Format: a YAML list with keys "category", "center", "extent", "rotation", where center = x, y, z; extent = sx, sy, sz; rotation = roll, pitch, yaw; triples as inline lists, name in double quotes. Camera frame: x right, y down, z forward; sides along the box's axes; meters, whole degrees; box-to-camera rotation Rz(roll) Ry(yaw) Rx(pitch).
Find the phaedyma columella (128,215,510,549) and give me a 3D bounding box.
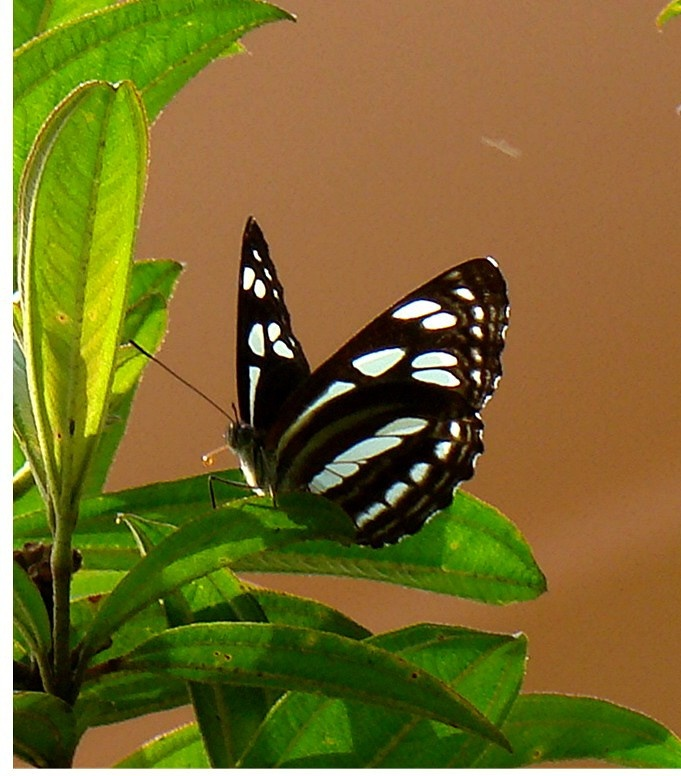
- category: "phaedyma columella"
  center: [0.009, 0.029, 1.087]
  extent: [0.350, 0.246, 0.325]
  rotation: [15, -14, -9]
